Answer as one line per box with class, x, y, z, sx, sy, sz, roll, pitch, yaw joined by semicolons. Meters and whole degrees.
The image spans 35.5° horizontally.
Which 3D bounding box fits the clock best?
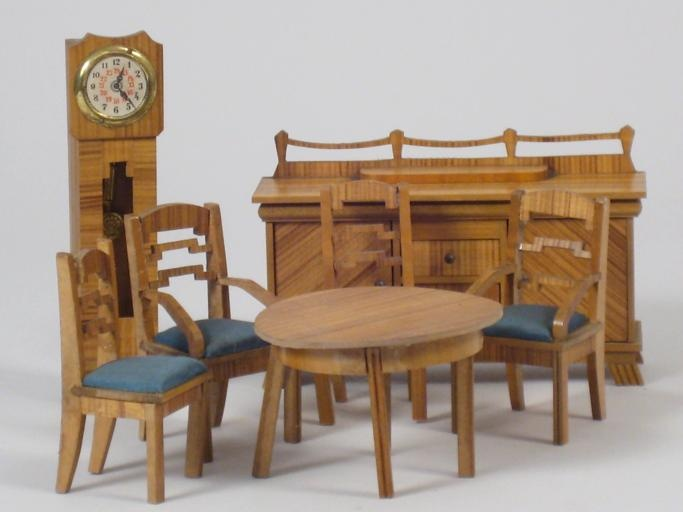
clock;-1.439;-0.221;6.777;0.554;2.238;0.477;0;6;-10
